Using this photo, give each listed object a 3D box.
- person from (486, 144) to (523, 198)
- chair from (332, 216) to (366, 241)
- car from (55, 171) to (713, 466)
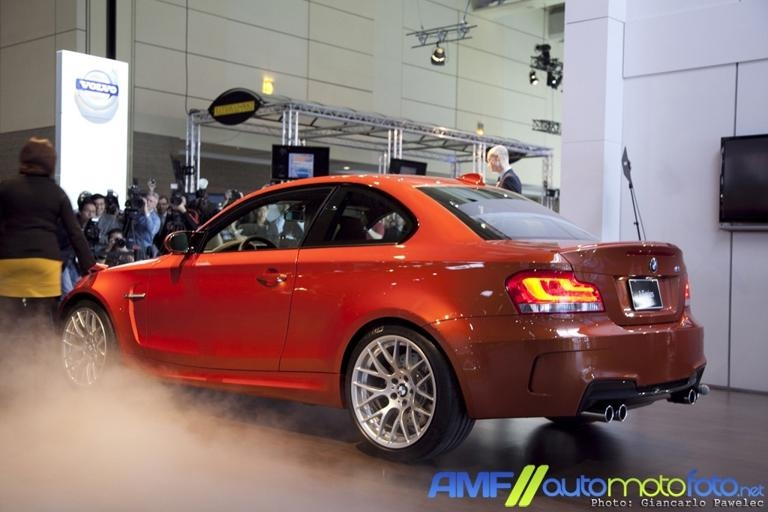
[{"bbox_3d":[1.498,-1.082,7.424,0.338,0.622,0.706,-7,14,2],"label":"person"},{"bbox_3d":[-0.263,-0.206,4.513,0.213,0.224,0.162,-3,-3,9],"label":"chair"},{"bbox_3d":[-0.168,0.409,4.800,4.517,1.753,2.180,1,-2,36],"label":"car"}]
